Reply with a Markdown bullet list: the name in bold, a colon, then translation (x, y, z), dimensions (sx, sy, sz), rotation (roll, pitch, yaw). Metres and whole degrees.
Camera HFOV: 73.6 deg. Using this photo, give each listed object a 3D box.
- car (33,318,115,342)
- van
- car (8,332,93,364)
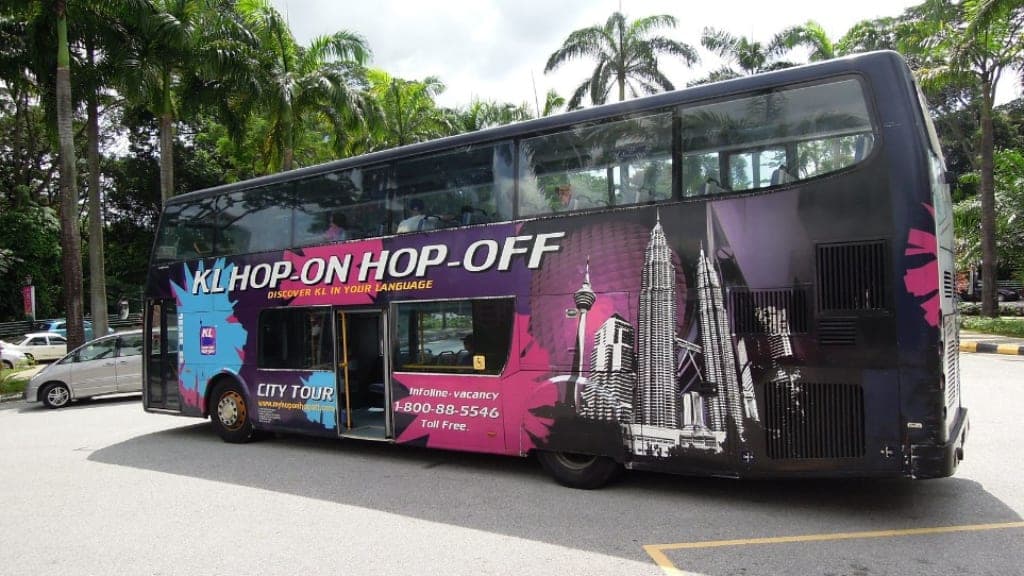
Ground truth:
- **car**: translation (-19.620, 1.899, 30.246), dimensions (2.912, 1.012, 1.377), rotation (-1, 0, -40)
- **van**: translation (-13.229, 2.724, 22.384), dimensions (4.345, 1.924, 2.199), rotation (1, -4, -5)
- **car**: translation (-19.459, 2.577, 28.684), dimensions (1.784, 1.286, 3.871), rotation (1, 3, 36)
